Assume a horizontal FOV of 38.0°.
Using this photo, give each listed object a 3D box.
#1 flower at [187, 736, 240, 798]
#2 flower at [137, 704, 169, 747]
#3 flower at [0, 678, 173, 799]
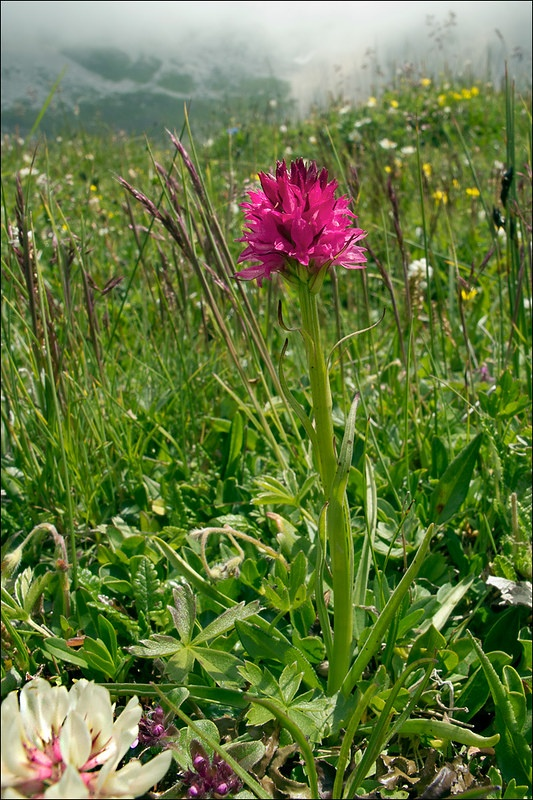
[{"bbox_3d":[-0.064,0.436,0.947,0.052,0.028,0.064,0,18,-22],"label":"flower"},{"bbox_3d":[-0.151,0.433,1.022,0.048,0.030,0.050,-19,12,-12],"label":"flower"},{"bbox_3d":[-0.194,0.388,0.870,0.162,0.083,0.164,33,21,-23],"label":"flower"}]
